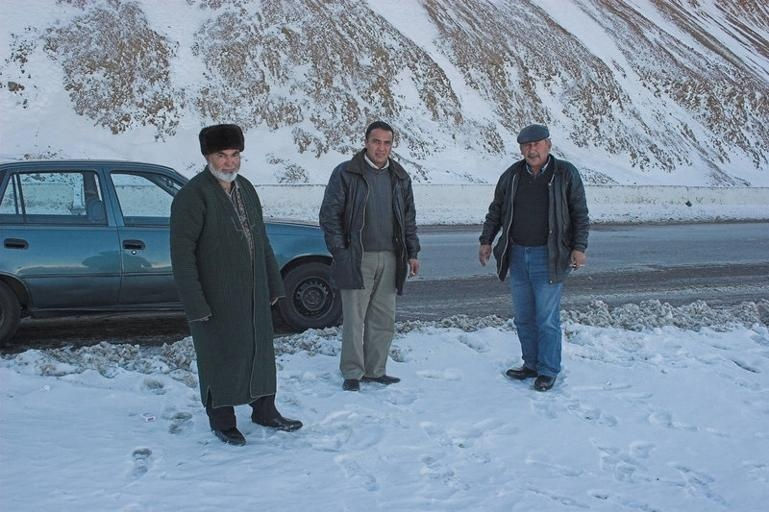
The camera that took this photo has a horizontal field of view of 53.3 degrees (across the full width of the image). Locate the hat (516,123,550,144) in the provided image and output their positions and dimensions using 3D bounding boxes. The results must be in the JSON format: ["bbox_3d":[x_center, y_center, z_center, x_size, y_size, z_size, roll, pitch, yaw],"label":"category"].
[{"bbox_3d":[2.077,-1.610,10.184,0.387,0.245,0.286,1,12,10],"label":"hat"}]

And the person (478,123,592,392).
[{"bbox_3d":[2.135,-0.016,10.381,1.411,3.446,0.835,1,11,14],"label":"person"}]

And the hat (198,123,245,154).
[{"bbox_3d":[-1.974,-1.396,9.104,0.460,0.306,0.361,-4,9,-2],"label":"hat"}]

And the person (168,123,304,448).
[{"bbox_3d":[-1.906,0.345,9.083,1.240,3.713,0.642,-5,11,-16],"label":"person"}]

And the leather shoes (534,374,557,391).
[{"bbox_3d":[2.308,1.672,10.321,0.411,0.189,0.183,-7,13,-25],"label":"leather shoes"}]

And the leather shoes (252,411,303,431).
[{"bbox_3d":[-1.311,2.035,9.556,0.688,0.288,0.231,-1,1,-1],"label":"leather shoes"}]

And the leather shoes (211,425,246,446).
[{"bbox_3d":[-1.871,2.120,9.187,0.493,0.195,0.177,4,3,33],"label":"leather shoes"}]

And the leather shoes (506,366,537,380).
[{"bbox_3d":[1.971,1.598,10.573,0.432,0.182,0.171,4,1,-2],"label":"leather shoes"}]

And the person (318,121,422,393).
[{"bbox_3d":[-0.154,-0.013,10.176,1.286,3.444,0.538,-7,12,-24],"label":"person"}]
